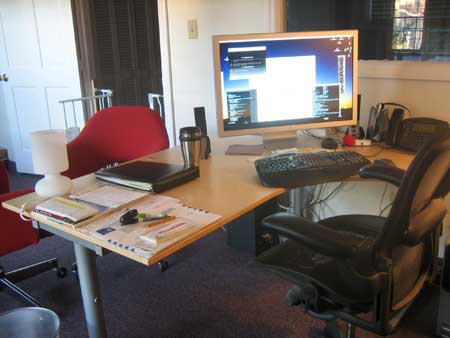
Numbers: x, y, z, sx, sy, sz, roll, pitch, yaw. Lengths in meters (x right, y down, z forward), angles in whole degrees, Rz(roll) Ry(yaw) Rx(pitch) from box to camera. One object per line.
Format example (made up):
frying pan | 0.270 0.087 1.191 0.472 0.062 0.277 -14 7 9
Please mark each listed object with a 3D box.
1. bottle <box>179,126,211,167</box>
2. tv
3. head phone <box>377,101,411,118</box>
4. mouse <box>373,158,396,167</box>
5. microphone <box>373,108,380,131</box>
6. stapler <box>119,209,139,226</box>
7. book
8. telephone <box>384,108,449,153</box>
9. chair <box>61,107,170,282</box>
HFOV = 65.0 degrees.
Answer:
bottle | -0.163 -0.117 1.912 0.193 0.231 0.124 -17 23 -42
tv | 0.368 -0.456 2.064 0.762 0.534 0.192 -8 21 -13
head phone | 1.061 -0.388 2.222 0.148 0.143 0.055 12 -8 19
mouse | 0.809 -0.040 1.799 0.061 0.032 0.108 -17 24 -34
microphone | 0.938 -0.303 2.177 0.034 0.119 0.028 12 13 10
stapler | -0.371 0.187 1.373 0.066 0.021 0.050 -27 43 -38
book | -0.629 0.166 1.415 0.161 0.023 0.169 13 25 20
telephone | 1.092 -0.221 2.070 0.331 0.167 0.251 12 55 36
chair | -0.653 0.033 2.160 0.698 0.774 0.792 7 13 30
